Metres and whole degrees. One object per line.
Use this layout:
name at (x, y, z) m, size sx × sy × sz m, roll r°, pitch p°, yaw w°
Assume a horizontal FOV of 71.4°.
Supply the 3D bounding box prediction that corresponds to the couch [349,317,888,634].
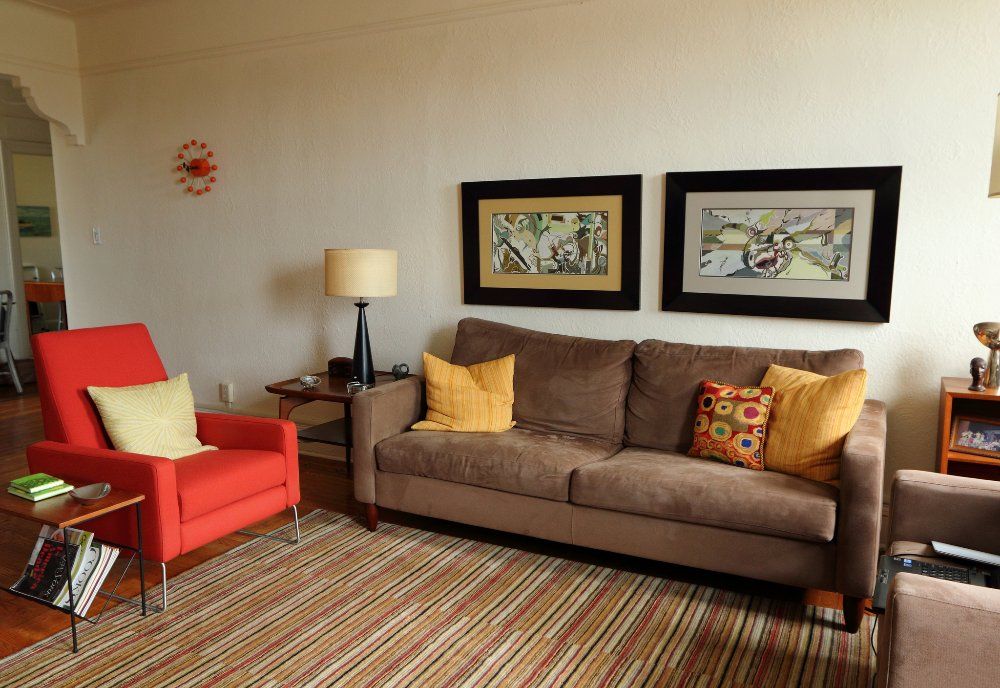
couch at (0.620, 0.519, 3.912) m, size 2.757 × 0.960 × 1.035 m, roll 4°, pitch 12°, yaw 28°

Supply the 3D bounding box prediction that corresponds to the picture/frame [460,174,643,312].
picture/frame at (0.362, -0.651, 4.345) m, size 1.028 × 0.640 × 0.045 m, roll 1°, pitch 4°, yaw 20°

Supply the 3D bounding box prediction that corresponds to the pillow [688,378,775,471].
pillow at (1.226, 0.418, 3.682) m, size 0.158 × 0.468 × 0.515 m, roll 14°, pitch -11°, yaw -29°

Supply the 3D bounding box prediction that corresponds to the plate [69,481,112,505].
plate at (-1.855, 0.671, 3.163) m, size 0.110 × 0.025 × 0.099 m, roll -7°, pitch 13°, yaw -23°

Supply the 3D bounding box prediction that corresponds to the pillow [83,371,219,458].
pillow at (-1.860, 0.404, 3.703) m, size 0.146 × 0.420 × 0.483 m, roll -25°, pitch -11°, yaw 40°

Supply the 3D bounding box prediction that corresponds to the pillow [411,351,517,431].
pillow at (-0.235, 0.284, 4.189) m, size 0.676 × 0.420 × 0.355 m, roll 4°, pitch 9°, yaw -8°

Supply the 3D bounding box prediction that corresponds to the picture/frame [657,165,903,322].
picture/frame at (1.605, -0.576, 3.877) m, size 1.042 × 0.648 × 0.046 m, roll 1°, pitch 5°, yaw 19°

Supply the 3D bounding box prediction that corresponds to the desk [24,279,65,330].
desk at (-5.294, -0.469, 8.076) m, size 0.481 × 0.397 × 0.369 m, roll -6°, pitch 0°, yaw -39°

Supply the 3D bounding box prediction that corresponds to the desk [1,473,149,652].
desk at (-1.962, 0.965, 3.206) m, size 0.634 × 0.648 × 0.373 m, roll 7°, pitch 13°, yaw 25°

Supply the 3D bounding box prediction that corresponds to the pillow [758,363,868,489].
pillow at (1.533, 0.371, 3.527) m, size 0.478 × 0.532 × 0.349 m, roll 8°, pitch 14°, yaw 29°
